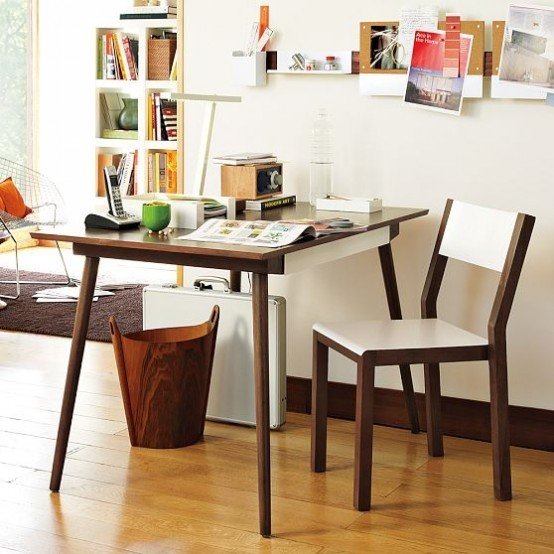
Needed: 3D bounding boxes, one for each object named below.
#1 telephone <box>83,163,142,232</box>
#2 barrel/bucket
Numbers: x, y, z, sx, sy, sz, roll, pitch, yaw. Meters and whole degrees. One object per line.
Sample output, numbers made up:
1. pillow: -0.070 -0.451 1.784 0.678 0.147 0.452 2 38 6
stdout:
1. telephone: -0.459 -0.221 1.592 0.137 0.160 0.103 11 18 34
2. barrel/bucket: -0.367 0.342 1.948 0.424 0.495 0.300 -3 5 -35
